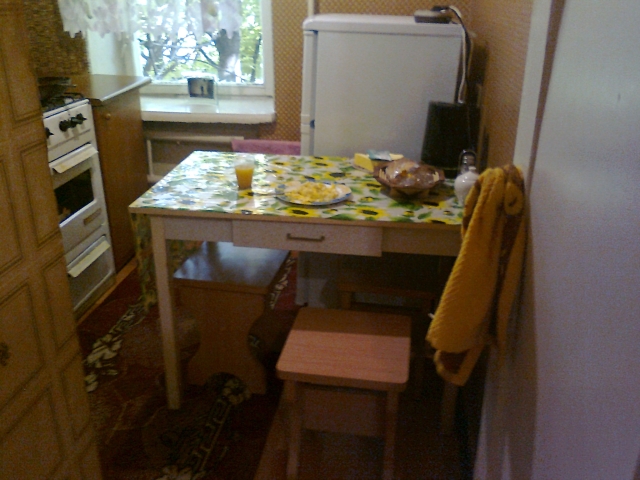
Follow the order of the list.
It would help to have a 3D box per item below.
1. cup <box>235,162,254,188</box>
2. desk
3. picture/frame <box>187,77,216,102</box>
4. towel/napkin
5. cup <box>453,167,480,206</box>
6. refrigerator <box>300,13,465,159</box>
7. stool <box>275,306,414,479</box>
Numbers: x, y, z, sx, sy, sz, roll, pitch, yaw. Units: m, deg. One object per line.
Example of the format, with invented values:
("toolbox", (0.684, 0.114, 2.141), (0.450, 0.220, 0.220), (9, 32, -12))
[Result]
("cup", (-0.279, -0.244, 1.998), (0.082, 0.091, 0.079), (2, 18, -1))
("desk", (-0.068, 0.110, 2.261), (1.126, 0.768, 0.709), (2, 27, 0))
("picture/frame", (-0.782, -1.010, 3.616), (0.229, 0.163, 0.128), (4, 30, 2))
("towel/napkin", (0.401, 0.115, 1.360), (0.196, 0.585, 0.252), (11, 29, 17))
("cup", (0.520, -0.201, 1.891), (0.090, 0.132, 0.083), (-1, 12, 0))
("refrigerator", (0.358, -0.870, 2.785), (0.711, 1.021, 0.582), (8, 33, 10))
("stool", (0.080, 0.539, 1.785), (0.407, 0.534, 0.416), (2, 27, 1))
